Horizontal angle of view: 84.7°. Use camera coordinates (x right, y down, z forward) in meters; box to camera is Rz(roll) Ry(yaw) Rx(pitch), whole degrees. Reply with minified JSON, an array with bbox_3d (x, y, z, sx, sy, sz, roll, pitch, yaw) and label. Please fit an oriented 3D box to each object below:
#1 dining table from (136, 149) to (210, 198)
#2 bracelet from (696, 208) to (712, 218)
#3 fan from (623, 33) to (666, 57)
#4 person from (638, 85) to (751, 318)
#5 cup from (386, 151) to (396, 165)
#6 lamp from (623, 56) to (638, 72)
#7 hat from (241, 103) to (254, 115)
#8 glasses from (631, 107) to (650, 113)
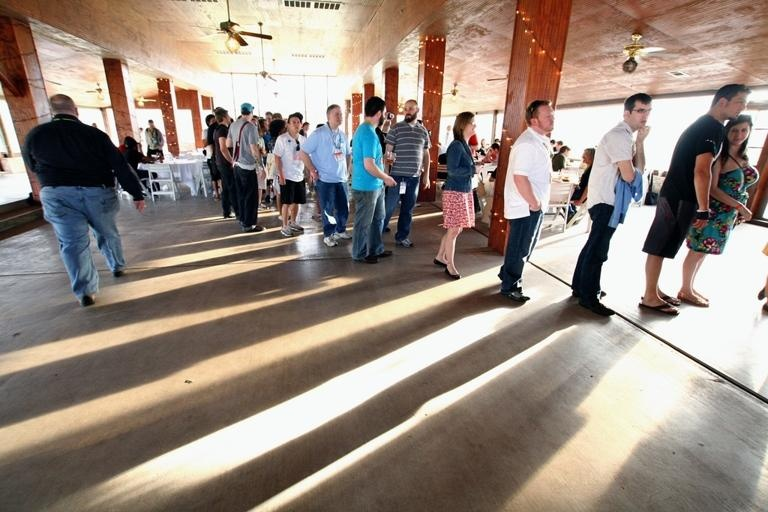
[{"bbox_3d":[-4.994,-1.794,9.471,1.381,0.701,1.516,0,21,-3],"label":"dining table"},{"bbox_3d":[3.313,-0.399,3.981,0.103,0.073,0.092,-8,23,-13],"label":"bracelet"},{"bbox_3d":[4.870,-3.617,7.151,0.575,0.262,0.620,5,14,25],"label":"fan"},{"bbox_3d":[3.239,-0.519,4.134,0.462,2.192,0.626,18,27,37],"label":"person"},{"bbox_3d":[0.131,-1.319,5.666,0.182,0.149,0.106,-4,16,-10],"label":"cup"},{"bbox_3d":[4.451,-3.150,6.906,0.172,0.239,0.440,14,22,32],"label":"lamp"},{"bbox_3d":[-2.121,-2.189,6.166,0.154,0.111,0.207,3,52,-10],"label":"hat"},{"bbox_3d":[2.686,-1.377,3.968,0.156,0.042,0.044,-3,20,-11],"label":"glasses"}]
